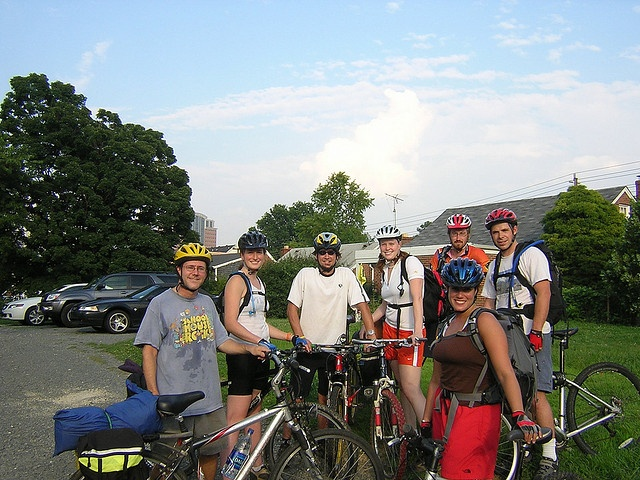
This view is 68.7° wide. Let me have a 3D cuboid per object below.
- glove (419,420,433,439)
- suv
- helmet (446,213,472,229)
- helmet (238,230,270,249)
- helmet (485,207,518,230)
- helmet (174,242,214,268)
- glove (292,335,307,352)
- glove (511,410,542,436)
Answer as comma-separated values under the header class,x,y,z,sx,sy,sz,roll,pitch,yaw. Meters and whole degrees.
class,x,y,z,sx,sy,sz,roll,pitch,yaw
glove,0.858,1.531,3.777,0.098,0.053,0.133,4,-7,-7
suv,-8.087,2.125,18.169,4.606,1.888,1.997,1,-4,-26
helmet,1.898,-0.287,6.460,0.269,0.150,0.407,-1,-6,19
helmet,-0.754,0.042,5.159,0.363,0.212,0.546,1,-3,-10
helmet,2.068,-0.257,5.268,0.336,0.179,0.233,17,-15,-40
helmet,-1.208,0.113,4.343,0.206,0.130,0.299,4,-21,-22
glove,-0.208,1.012,4.622,0.098,0.154,0.056,-42,-7,-26
glove,1.454,1.284,3.298,0.174,0.145,0.134,-1,-1,-4
